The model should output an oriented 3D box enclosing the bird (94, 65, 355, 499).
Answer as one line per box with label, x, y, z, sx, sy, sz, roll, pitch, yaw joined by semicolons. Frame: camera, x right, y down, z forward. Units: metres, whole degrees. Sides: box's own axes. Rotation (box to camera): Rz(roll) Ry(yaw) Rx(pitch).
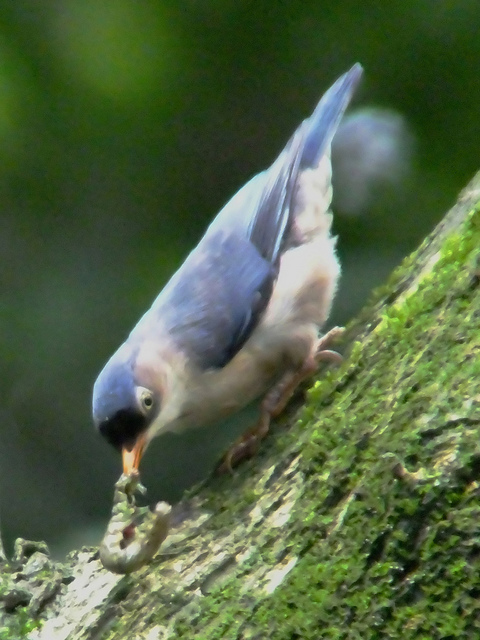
bird;0.010;-0.100;1.650;0.789;0.346;0.244;-57;34;-3
